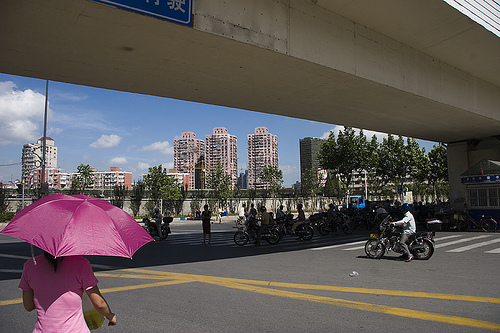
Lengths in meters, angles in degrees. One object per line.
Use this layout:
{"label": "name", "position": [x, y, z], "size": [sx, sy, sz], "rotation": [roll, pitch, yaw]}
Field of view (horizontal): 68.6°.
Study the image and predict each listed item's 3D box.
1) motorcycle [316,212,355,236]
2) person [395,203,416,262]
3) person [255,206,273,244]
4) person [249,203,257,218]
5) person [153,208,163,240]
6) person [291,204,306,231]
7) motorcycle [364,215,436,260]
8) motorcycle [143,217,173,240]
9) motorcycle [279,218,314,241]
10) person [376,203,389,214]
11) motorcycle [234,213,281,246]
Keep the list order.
{"label": "motorcycle", "position": [5.418, 3.543, 23.132], "size": [2.361, 1.690, 1.397], "rotation": [-6, -11, 28]}
{"label": "person", "position": [5.908, 2.479, 13.893], "size": [0.604, 2.130, 0.730], "rotation": [-3, -5, 26]}
{"label": "person", "position": [0.728, 2.985, 18.760], "size": [0.778, 1.856, 0.683], "rotation": [-1, -5, 7]}
{"label": "person", "position": [0.247, 2.650, 22.116], "size": [0.518, 0.872, 0.507], "rotation": [0, -4, 42]}
{"label": "person", "position": [-5.516, 3.505, 22.233], "size": [0.422, 1.856, 0.835], "rotation": [1, -5, -17]}
{"label": "person", "position": [2.791, 2.895, 20.889], "size": [0.669, 1.452, 1.924], "rotation": [-2, -5, 10]}
{"label": "motorcycle", "position": [5.788, 2.799, 14.250], "size": [2.475, 1.687, 1.293], "rotation": [-4, -5, 28]}
{"label": "motorcycle", "position": [-5.865, 3.767, 22.675], "size": [1.025, 1.514, 2.533], "rotation": [-16, -22, 39]}
{"label": "motorcycle", "position": [2.431, 3.384, 20.551], "size": [2.178, 1.494, 1.288], "rotation": [-3, -2, 16]}
{"label": "person", "position": [8.435, 2.675, 23.243], "size": [0.722, 0.692, 0.615], "rotation": [9, -16, -43]}
{"label": "motorcycle", "position": [0.474, 3.352, 19.158], "size": [2.487, 1.552, 1.308], "rotation": [2, -9, -9]}
